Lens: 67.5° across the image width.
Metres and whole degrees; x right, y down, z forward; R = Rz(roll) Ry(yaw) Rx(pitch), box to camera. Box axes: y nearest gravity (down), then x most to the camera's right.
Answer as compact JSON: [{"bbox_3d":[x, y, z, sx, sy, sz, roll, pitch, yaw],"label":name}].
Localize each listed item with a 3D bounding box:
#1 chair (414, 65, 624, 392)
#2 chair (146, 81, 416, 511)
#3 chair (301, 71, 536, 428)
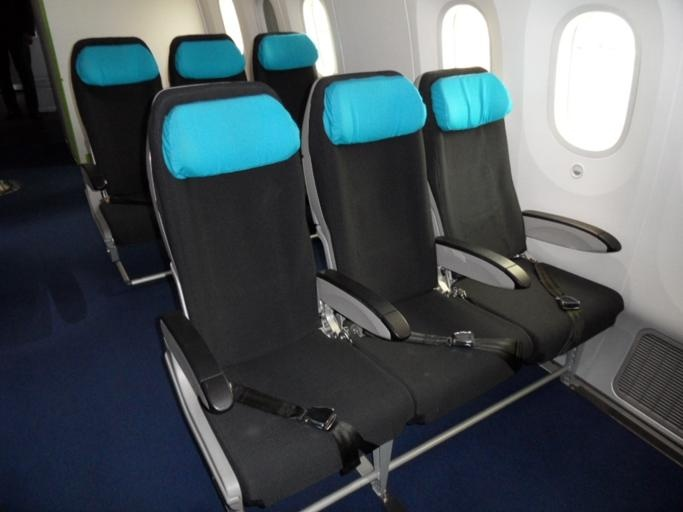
[{"bbox_3d":[0.853,-0.226,2.490,0.967,1.304,0.865,7,24,33],"label":"chair"},{"bbox_3d":[-0.307,0.083,1.961,0.818,1.421,0.772,-19,25,-25],"label":"chair"},{"bbox_3d":[0.248,-0.109,2.232,0.661,1.196,0.953,-12,35,-5],"label":"chair"}]
